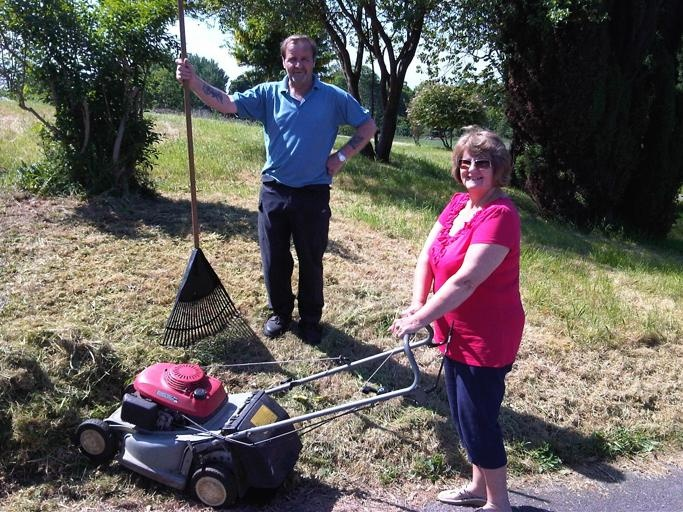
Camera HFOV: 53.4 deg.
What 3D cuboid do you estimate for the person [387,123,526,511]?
[{"bbox_3d":[1.143,0.572,6.215,1.164,3.404,0.807,7,12,7],"label":"person"}]

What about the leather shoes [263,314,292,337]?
[{"bbox_3d":[-0.752,0.833,7.913,0.322,0.205,0.147,-22,-6,-17],"label":"leather shoes"}]

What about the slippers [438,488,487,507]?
[{"bbox_3d":[1.169,2.296,6.524,0.424,0.193,0.181,4,6,12],"label":"slippers"}]
